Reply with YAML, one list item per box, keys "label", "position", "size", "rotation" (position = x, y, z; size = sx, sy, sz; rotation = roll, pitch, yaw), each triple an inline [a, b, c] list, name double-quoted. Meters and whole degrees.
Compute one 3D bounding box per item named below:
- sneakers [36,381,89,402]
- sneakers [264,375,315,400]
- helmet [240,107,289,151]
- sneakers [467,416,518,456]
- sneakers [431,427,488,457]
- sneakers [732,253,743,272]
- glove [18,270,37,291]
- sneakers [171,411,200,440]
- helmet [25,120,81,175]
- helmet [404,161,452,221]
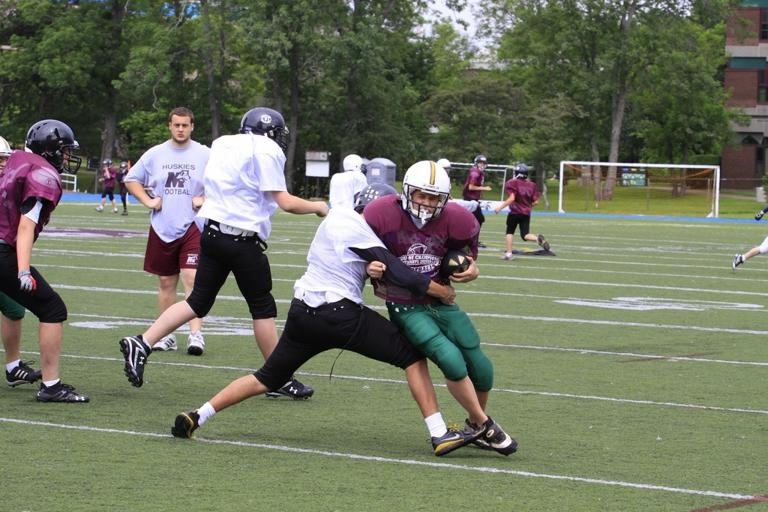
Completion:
- label: "sneakers"
  position: [-2.774, 1.203, 7.480]
  size: [0.589, 0.189, 0.176]
  rotation: [2, -3, -5]
- label: "sneakers"
  position: [-0.819, 1.208, 7.749]
  size: [0.536, 0.199, 0.213]
  rotation: [1, -1, 2]
- label: "helmet"
  position: [-1.039, -1.203, 7.746]
  size: [0.522, 0.340, 0.366]
  rotation: [-3, 9, -24]
- label: "sneakers"
  position: [0.844, 1.430, 6.636]
  size: [0.484, 0.199, 0.151]
  rotation: [19, 46, 4]
- label: "sneakers"
  position: [0.541, 1.426, 6.589]
  size: [0.502, 0.185, 0.159]
  rotation: [-18, -9, -7]
- label: "sneakers"
  position: [7.612, 0.149, 18.147]
  size: [0.213, 0.149, 0.432]
  rotation: [-31, 18, 20]
- label: "glove"
  position: [-2.993, 0.216, 7.116]
  size: [0.081, 0.159, 0.150]
  rotation: [-41, -32, 22]
- label: "sneakers"
  position: [-1.560, 1.333, 6.610]
  size: [0.166, 0.113, 0.337]
  rotation: [-22, -5, -8]
- label: "helmet"
  position: [-2.946, -0.989, 7.601]
  size: [0.561, 0.385, 0.390]
  rotation: [4, 5, -1]
- label: "helmet"
  position: [0.322, -0.484, 6.489]
  size: [0.363, 0.513, 0.232]
  rotation: [3, 2, 0]
